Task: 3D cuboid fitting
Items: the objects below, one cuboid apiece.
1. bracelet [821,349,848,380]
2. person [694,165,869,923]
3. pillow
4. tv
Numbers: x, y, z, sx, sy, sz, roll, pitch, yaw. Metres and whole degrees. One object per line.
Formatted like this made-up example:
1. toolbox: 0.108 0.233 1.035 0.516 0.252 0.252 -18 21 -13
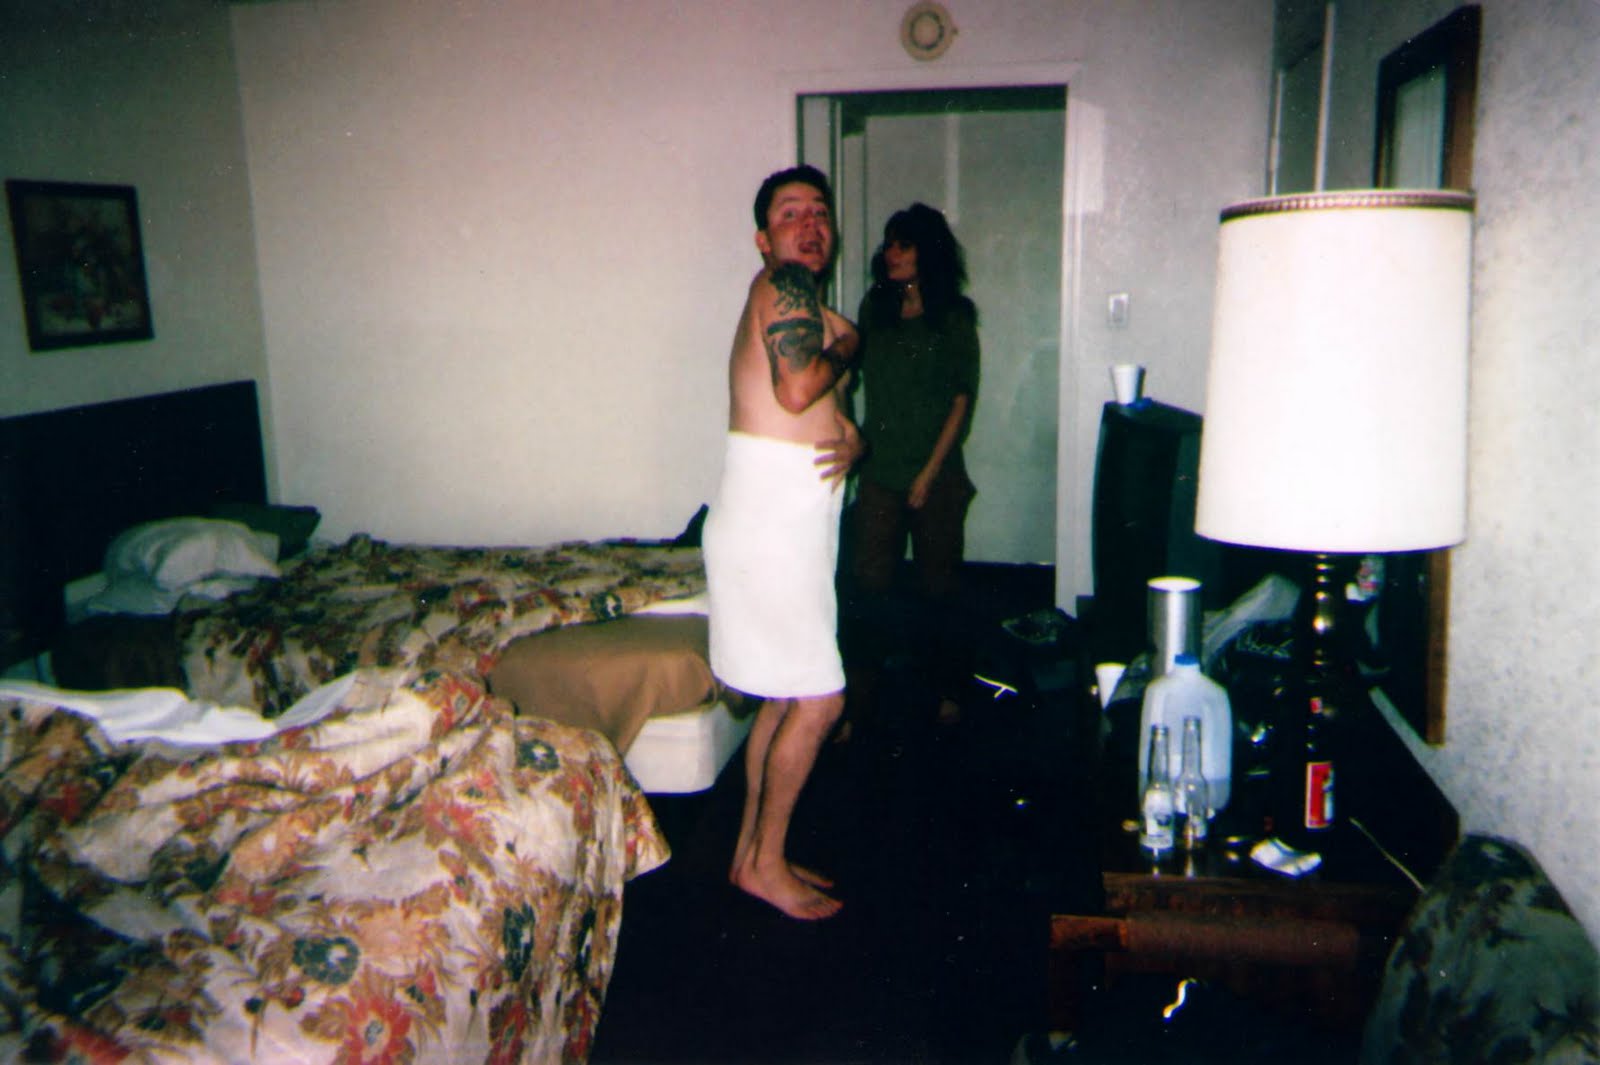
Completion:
1. bracelet: 0.090 -0.442 3.407 0.060 0.078 0.082 4 31 11
2. person: -0.047 0.028 3.433 0.412 1.937 0.402 -1 11 -4
3. pillow: -1.973 0.065 4.299 0.573 0.255 0.819 12 18 41
4. tv: 1.092 -0.095 3.949 0.493 0.963 0.551 2 13 13
